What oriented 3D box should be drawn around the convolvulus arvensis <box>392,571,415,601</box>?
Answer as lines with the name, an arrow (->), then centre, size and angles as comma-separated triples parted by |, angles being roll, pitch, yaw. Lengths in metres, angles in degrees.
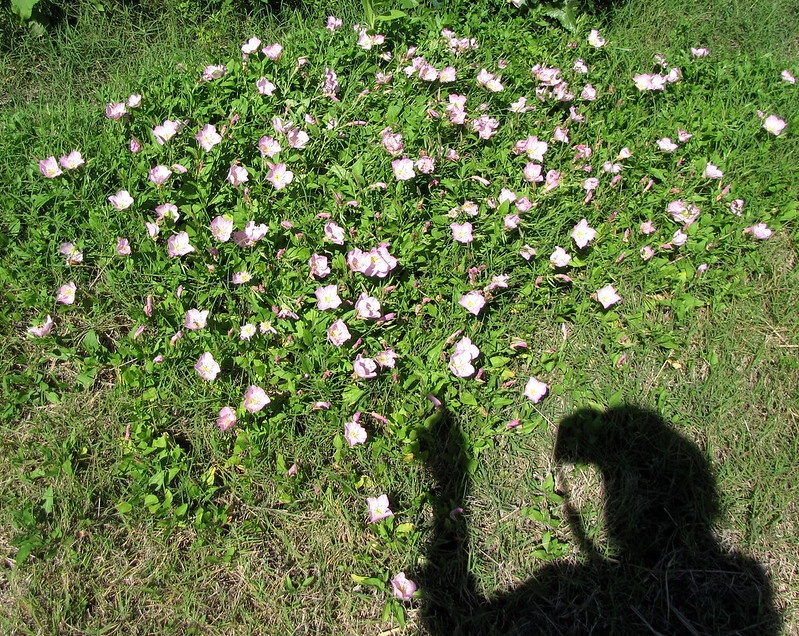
convolvulus arvensis -> 0.015, 1.336, 3.321 | 0.117, 0.126, 0.121 | -19, 60, -9
